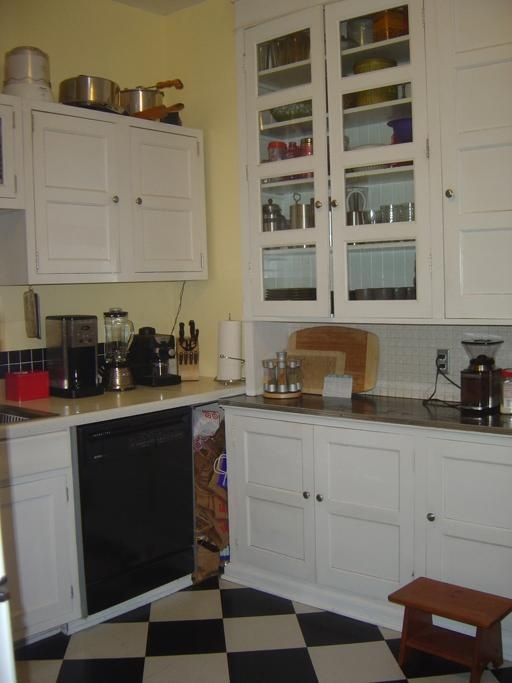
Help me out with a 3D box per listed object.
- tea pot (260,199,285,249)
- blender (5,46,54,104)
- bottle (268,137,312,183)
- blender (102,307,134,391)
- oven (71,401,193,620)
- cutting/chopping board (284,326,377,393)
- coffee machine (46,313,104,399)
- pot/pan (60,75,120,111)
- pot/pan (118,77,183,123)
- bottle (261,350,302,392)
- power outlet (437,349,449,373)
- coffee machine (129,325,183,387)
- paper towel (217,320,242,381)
[{"bbox_3d":[0.083,-0.581,2.747,0.138,0.223,0.142,-1,1,0],"label":"tea pot"},{"bbox_3d":[-0.966,-1.114,2.397,0.193,0.248,0.135,-2,1,-13],"label":"blender"},{"bbox_3d":[0.156,-0.885,2.715,0.092,0.138,0.340,-5,10,-35],"label":"bottle"},{"bbox_3d":[-0.739,0.039,3.077,0.166,0.437,0.443,-2,1,-13],"label":"blender"},{"bbox_3d":[-0.646,0.726,2.662,0.658,0.829,0.611,-5,4,-25],"label":"oven"},{"bbox_3d":[0.383,0.102,2.789,0.309,0.222,0.042,5,5,34],"label":"cutting/chopping board"},{"bbox_3d":[-0.877,0.078,2.761,0.223,0.390,0.235,2,6,21],"label":"coffee machine"},{"bbox_3d":[-0.763,-1.073,2.595,0.208,0.113,0.209,11,14,40],"label":"pot/pan"},{"bbox_3d":[-0.536,-1.248,2.929,0.343,0.240,0.207,5,11,24],"label":"pot/pan"},{"bbox_3d":[0.129,0.134,2.802,0.186,0.183,0.190,4,6,33],"label":"bottle"},{"bbox_3d":[0.829,0.093,2.547,0.058,0.086,0.020,-2,1,41],"label":"power outlet"},{"bbox_3d":[-0.546,0.079,3.113,0.289,0.321,0.190,0,5,41],"label":"coffee machine"},{"bbox_3d":[-0.134,0.054,3.010,0.130,0.304,0.088,-2,1,-4],"label":"paper towel"}]
